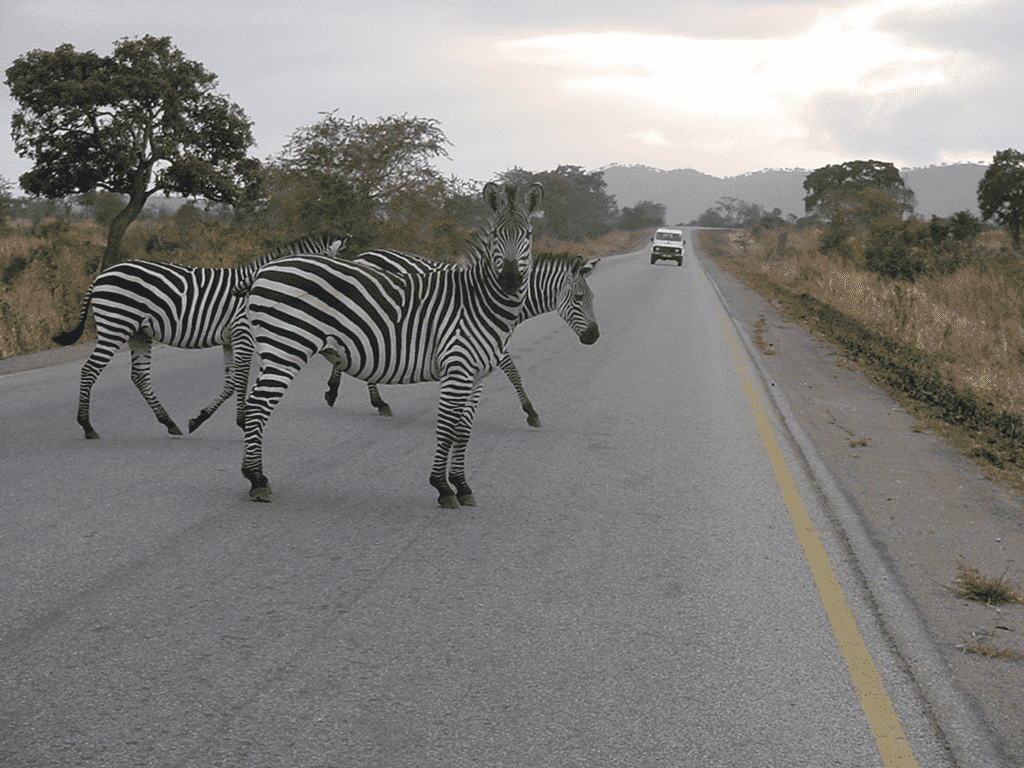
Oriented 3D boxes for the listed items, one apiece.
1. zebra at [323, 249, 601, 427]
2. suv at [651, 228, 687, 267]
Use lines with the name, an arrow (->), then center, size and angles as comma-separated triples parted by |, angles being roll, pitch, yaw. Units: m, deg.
zebra -> -0.627, -0.492, 9.362 | 3.228, 2.347, 0.787 | -1, 27, -4
suv -> 8.516, -7.814, 46.546 | 1.420, 1.380, 2.749 | 1, 7, 6
